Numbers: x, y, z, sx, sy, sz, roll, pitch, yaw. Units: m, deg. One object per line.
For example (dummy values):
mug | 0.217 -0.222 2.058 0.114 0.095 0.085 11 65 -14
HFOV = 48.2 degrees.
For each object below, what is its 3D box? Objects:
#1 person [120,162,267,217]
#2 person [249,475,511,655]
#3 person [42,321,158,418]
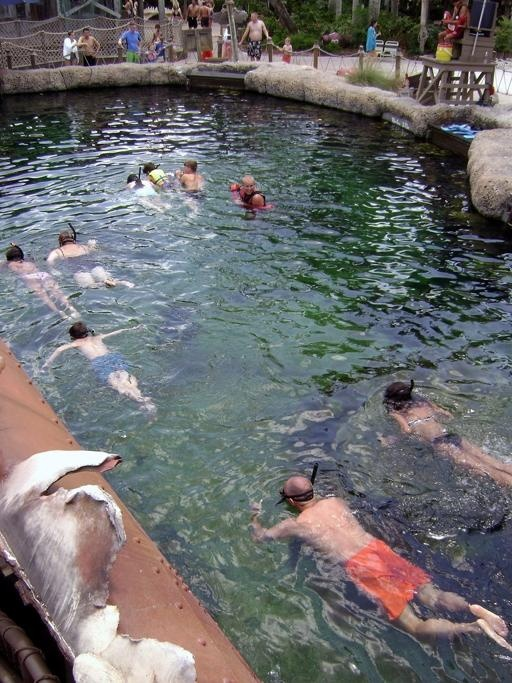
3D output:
person | -1.274 -3.123 11.886 2.942 0.493 0.722 2 33 7
person | 0.840 1.588 4.153 0.675 0.374 1.714 -14 27 -40
person | -1.702 0.292 6.671 1.051 0.245 1.179 -24 56 -38
